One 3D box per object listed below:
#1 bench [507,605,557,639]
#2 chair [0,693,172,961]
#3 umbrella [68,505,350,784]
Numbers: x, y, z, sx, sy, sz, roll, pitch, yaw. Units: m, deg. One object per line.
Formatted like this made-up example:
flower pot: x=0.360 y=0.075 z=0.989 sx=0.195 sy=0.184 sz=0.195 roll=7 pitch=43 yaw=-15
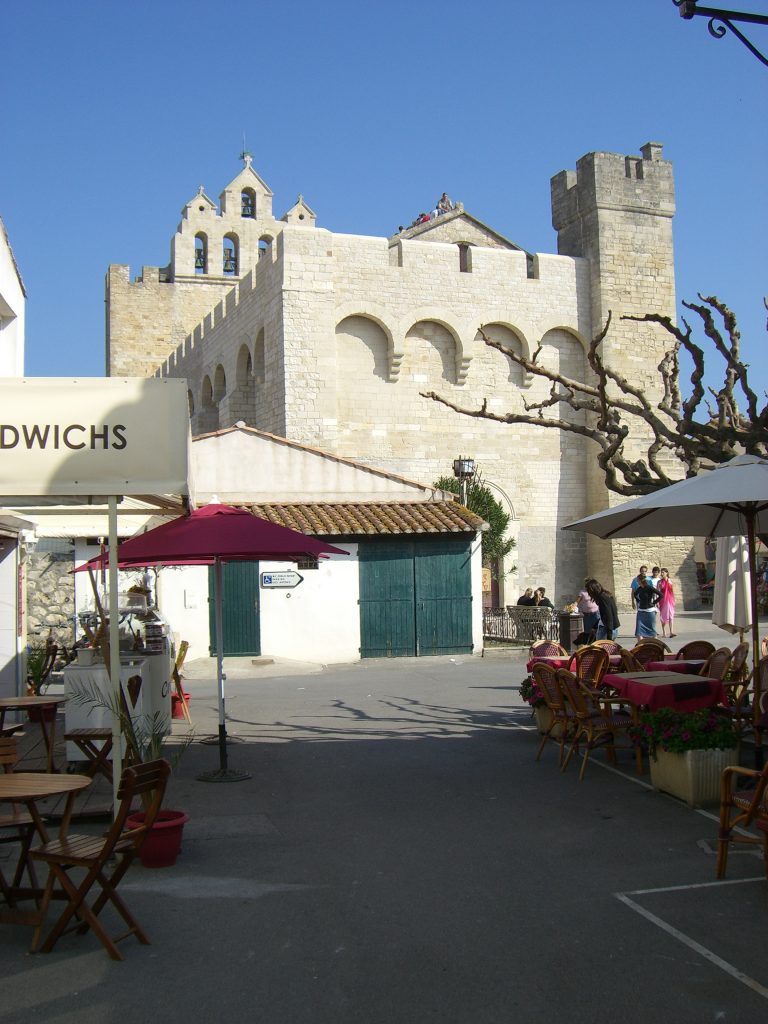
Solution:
bench: x=3.337 y=2.492 z=23.777 sx=0.480 sy=0.805 sz=2.192 roll=-1 pitch=-3 yaw=-10
chair: x=-1.416 y=1.729 z=5.792 sx=1.010 sy=1.428 sz=0.877 roll=0 pitch=-6 yaw=4
umbrella: x=-1.491 y=1.016 z=9.770 sx=2.361 sy=2.217 sz=2.338 roll=2 pitch=3 yaw=30
